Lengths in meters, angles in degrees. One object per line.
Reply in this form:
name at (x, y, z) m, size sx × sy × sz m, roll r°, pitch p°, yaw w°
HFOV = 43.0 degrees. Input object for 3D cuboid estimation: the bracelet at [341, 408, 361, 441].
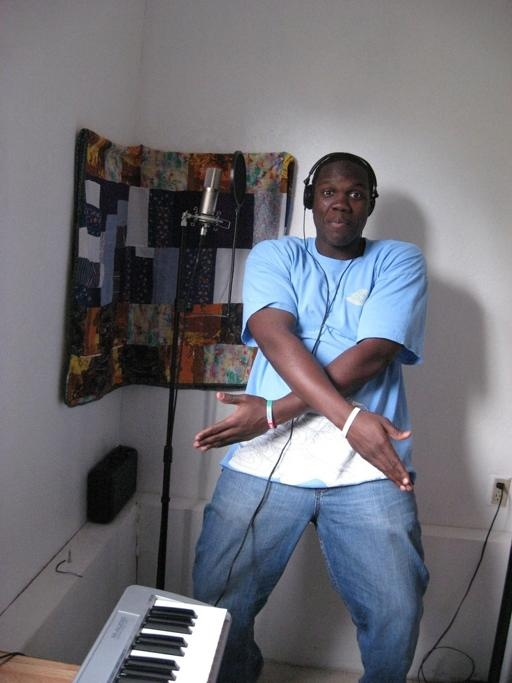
bracelet at (0.208, 0.189, 1.469) m, size 0.014 × 0.056 × 0.056 m, roll 31°, pitch -32°, yaw 2°

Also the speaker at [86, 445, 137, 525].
speaker at (-0.517, 0.513, 2.292) m, size 0.115 × 0.213 × 0.335 m, roll 4°, pitch 6°, yaw 14°

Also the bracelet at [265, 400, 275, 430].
bracelet at (0.034, 0.180, 1.578) m, size 0.033 × 0.052 × 0.055 m, roll 6°, pitch -21°, yaw 8°
